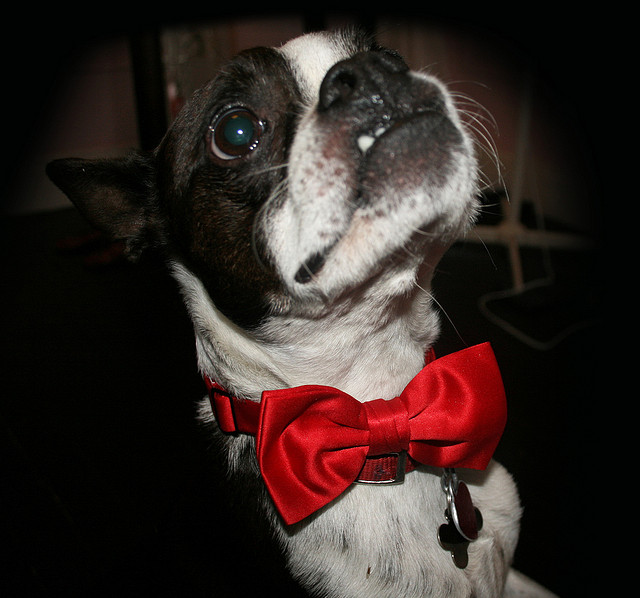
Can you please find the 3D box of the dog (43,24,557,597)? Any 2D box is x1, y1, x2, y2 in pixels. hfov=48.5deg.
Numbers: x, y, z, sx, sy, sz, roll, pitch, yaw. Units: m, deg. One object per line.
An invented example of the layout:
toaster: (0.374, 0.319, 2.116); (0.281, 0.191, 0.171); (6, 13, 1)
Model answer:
dog: (0.089, 0.372, 2.873); (1.363, 2.431, 2.012); (-7, 41, -19)

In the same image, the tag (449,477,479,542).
tag: (0.521, 0.775, 2.635); (0.128, 0.047, 0.227); (20, 61, -52)

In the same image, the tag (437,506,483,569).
tag: (0.529, 0.859, 2.662); (0.029, 0.317, 0.183); (-17, 40, -34)
